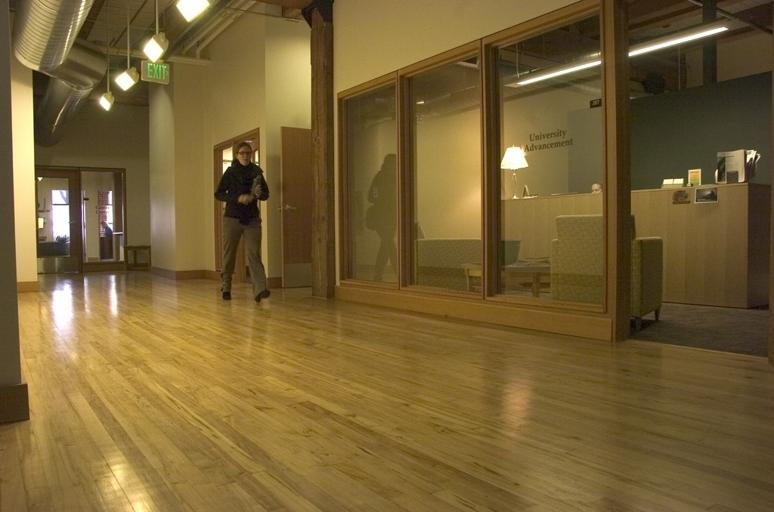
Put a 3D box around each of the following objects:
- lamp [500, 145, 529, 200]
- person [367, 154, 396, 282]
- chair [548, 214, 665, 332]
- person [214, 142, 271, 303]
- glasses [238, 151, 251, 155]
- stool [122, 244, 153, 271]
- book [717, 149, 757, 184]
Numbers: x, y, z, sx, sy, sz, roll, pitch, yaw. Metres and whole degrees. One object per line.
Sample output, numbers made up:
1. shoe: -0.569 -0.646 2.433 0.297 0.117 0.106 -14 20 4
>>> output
1. lamp: 1.223 -0.797 5.347 0.073 0.493 0.326 -7 10 -38
2. person: -0.069 -0.456 6.690 0.147 1.499 0.574 -6 9 -33
3. chair: 1.965 0.106 5.365 0.840 1.201 1.150 1 1 42
4. person: -1.858 -0.432 7.339 0.576 2.085 1.040 -7 10 -39
5. glasses: -1.882 -1.343 7.326 0.157 0.059 0.102 -5 9 -24
6. stool: -6.586 0.033 14.672 0.718 0.711 0.731 -1 4 -2
7. book: 4.276 -1.056 6.710 0.504 0.411 0.388 -1 3 -9
